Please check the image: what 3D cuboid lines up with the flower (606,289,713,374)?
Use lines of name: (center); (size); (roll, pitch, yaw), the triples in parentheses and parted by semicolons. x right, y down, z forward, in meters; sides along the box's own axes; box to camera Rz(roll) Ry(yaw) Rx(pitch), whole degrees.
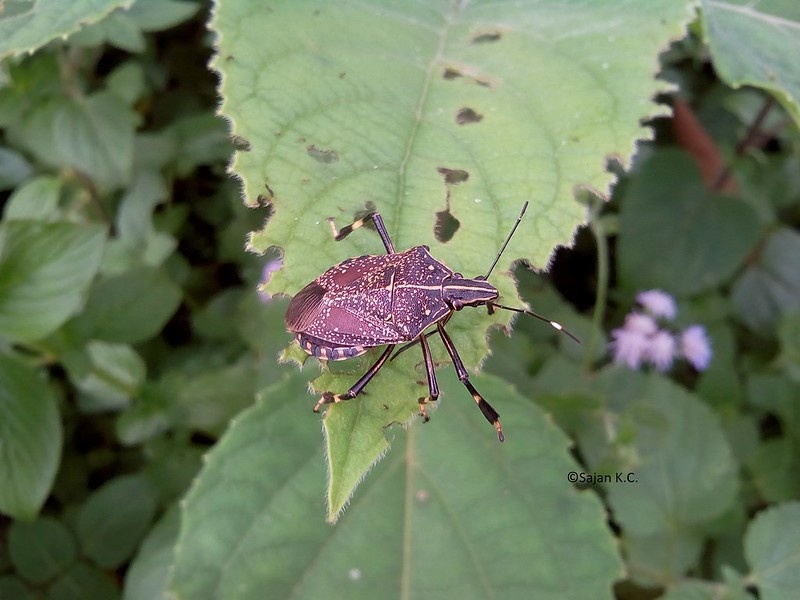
flower: (1.053, 0.135, 3.680); (0.288, 0.148, 0.345); (-1, 68, 12)
